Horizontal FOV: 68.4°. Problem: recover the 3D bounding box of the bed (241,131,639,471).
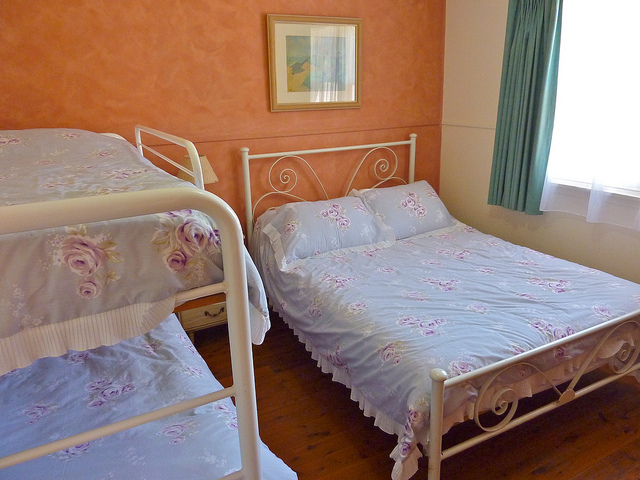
[{"bbox_3d":[0.638,0.048,3.025,1.743,1.184,2.215,-11,20,-22],"label":"bed"}]
